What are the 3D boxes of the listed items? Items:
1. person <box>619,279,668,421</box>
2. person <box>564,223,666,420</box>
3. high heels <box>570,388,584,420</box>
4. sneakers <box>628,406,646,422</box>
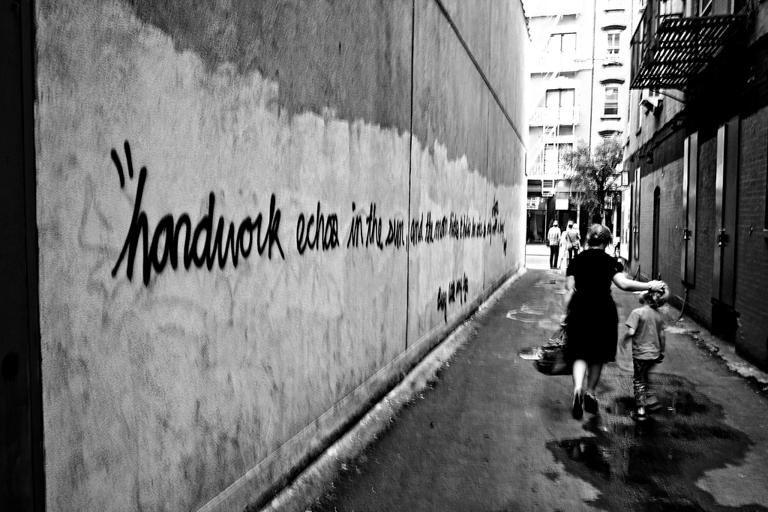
[{"bbox_3d":[2.855,1.008,7.004,0.424,1.377,0.702,2,5,25],"label":"person"},{"bbox_3d":[2.467,0.753,7.409,0.973,2.199,1.161,7,-3,-19],"label":"person"},{"bbox_3d":[2.054,1.573,6.759,0.098,0.411,0.138,0,-7,18],"label":"high heels"},{"bbox_3d":[2.733,1.701,6.847,0.101,0.145,0.159,-2,-16,9],"label":"sneakers"}]
